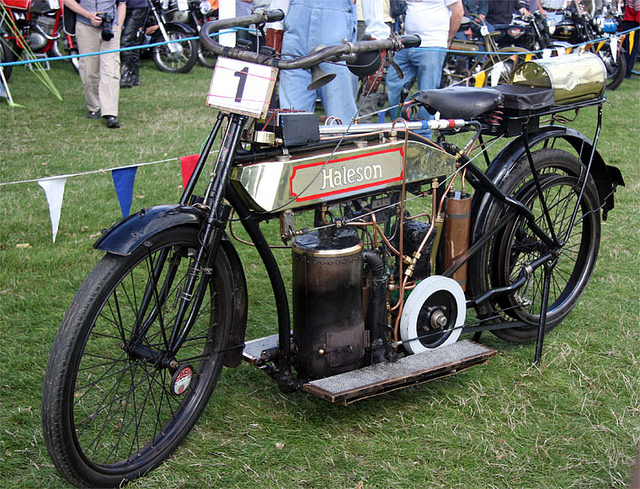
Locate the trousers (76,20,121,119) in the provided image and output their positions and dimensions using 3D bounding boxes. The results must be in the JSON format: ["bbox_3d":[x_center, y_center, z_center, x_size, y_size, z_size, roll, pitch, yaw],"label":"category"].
[{"bbox_3d":[-2.620,-2.082,8.168,0.511,1.153,0.686,-8,22,-17],"label":"trousers"}]

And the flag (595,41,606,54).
[{"bbox_3d":[4.932,-3.456,11.898,0.098,0.161,1.069,7,22,23],"label":"flag"}]

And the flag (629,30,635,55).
[{"bbox_3d":[5.587,-3.576,12.131,0.088,0.409,0.504,8,22,23],"label":"flag"}]

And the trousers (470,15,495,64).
[{"bbox_3d":[2.671,-3.377,11.146,0.405,0.726,1.129,3,21,12],"label":"trousers"}]

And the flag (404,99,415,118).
[{"bbox_3d":[0.476,-0.719,3.599,0.031,0.064,0.088,4,32,14],"label":"flag"}]

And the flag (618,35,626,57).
[{"bbox_3d":[4.995,-3.301,11.193,0.071,0.355,1.752,7,22,22],"label":"flag"}]

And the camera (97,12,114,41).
[{"bbox_3d":[-2.456,-2.503,7.786,0.235,0.249,0.146,-2,10,-11],"label":"camera"}]

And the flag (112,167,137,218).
[{"bbox_3d":[-1.175,-0.329,4.071,0.243,0.292,0.017,-11,23,-36],"label":"flag"}]

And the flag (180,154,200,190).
[{"bbox_3d":[-0.789,-0.445,4.144,0.100,0.180,0.325,-6,21,-11],"label":"flag"}]

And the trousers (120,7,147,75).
[{"bbox_3d":[-2.932,-3.181,10.683,0.412,1.010,0.787,1,21,6],"label":"trousers"}]
